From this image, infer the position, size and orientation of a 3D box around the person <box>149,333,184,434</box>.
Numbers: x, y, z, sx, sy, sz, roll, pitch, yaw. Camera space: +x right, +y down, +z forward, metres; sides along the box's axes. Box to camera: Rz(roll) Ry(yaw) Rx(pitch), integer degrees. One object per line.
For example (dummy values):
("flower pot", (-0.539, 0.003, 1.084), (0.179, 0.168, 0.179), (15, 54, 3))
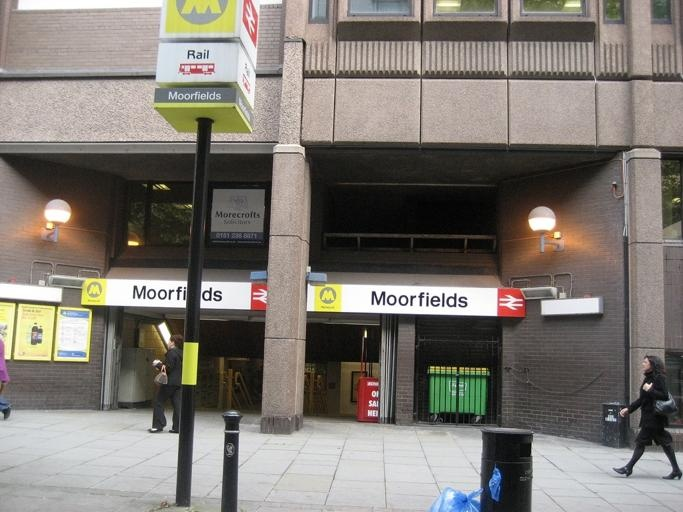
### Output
("person", (-3.768, 2.769, 14.755), (0.601, 2.095, 1.468), (2, -2, -14))

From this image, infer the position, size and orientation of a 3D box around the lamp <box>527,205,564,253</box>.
("lamp", (4.860, -0.663, 16.389), (0.742, 1.100, 0.484), (2, -2, -16))

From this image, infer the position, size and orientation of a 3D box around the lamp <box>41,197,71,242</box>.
("lamp", (-7.237, -0.929, 17.479), (0.718, 1.027, 0.588), (-16, -20, 37))

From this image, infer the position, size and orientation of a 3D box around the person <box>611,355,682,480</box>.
("person", (5.681, 2.908, 12.652), (1.053, 2.157, 1.477), (1, -2, 23))

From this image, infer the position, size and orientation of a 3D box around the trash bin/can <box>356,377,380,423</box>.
("trash bin/can", (0.667, 3.657, 17.578), (0.518, 1.090, 0.222), (1, -2, 21))

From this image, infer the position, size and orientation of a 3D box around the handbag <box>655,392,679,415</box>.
("handbag", (5.870, 2.700, 12.439), (0.406, 0.375, 0.144), (2, -2, -9))

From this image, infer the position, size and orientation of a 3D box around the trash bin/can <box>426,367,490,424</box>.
("trash bin/can", (2.889, 3.451, 17.099), (1.383, 1.183, 0.491), (1, -2, 1))
